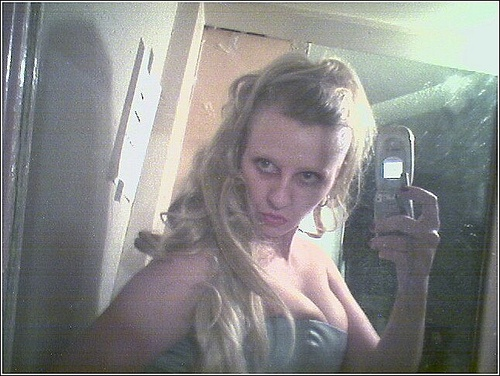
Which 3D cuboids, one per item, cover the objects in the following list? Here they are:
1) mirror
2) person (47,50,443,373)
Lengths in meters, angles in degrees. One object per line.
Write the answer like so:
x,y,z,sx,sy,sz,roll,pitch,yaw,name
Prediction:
0.587,0.008,2.085,1.327,1.003,0.286,5,6,2,mirror
-0.057,0.040,1.614,0.970,0.451,1.177,15,83,-32,person
